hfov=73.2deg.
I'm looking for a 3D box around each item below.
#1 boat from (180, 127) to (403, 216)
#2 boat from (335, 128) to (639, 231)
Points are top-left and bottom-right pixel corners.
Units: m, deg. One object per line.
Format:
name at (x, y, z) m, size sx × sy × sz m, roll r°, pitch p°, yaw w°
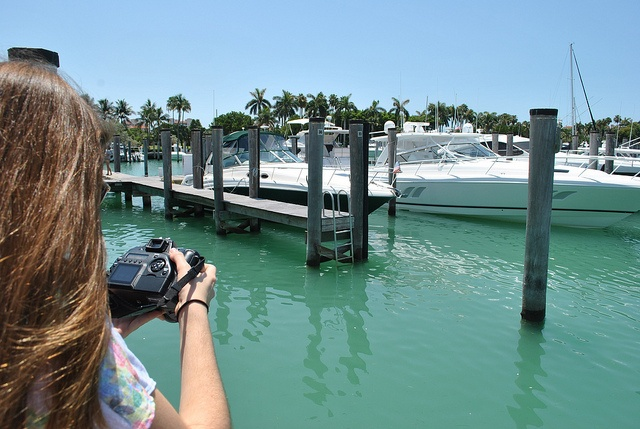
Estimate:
boat at (-2.716, -1.241, 12.744) m, size 6.876 × 2.206 × 2.072 m, roll -5°, pitch 7°, yaw 38°
boat at (3.721, -0.830, 12.970) m, size 9.373 × 2.527 × 2.926 m, roll 6°, pitch 19°, yaw 36°
